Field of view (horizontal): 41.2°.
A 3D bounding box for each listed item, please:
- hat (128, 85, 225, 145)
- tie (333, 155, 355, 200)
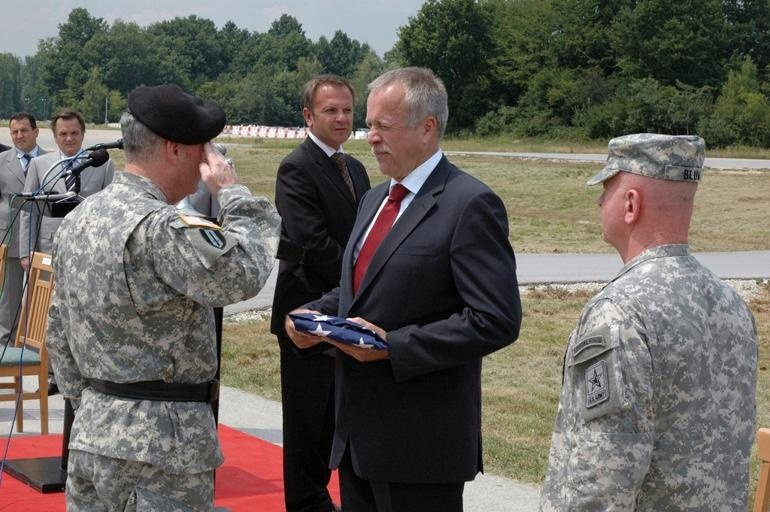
[{"bbox_3d":[-1.034,-0.715,5.168,0.357,0.151,0.386,27,48,20],"label":"hat"},{"bbox_3d":[-0.280,-0.565,7.077,0.091,0.390,0.074,-32,-28,13],"label":"tie"}]
